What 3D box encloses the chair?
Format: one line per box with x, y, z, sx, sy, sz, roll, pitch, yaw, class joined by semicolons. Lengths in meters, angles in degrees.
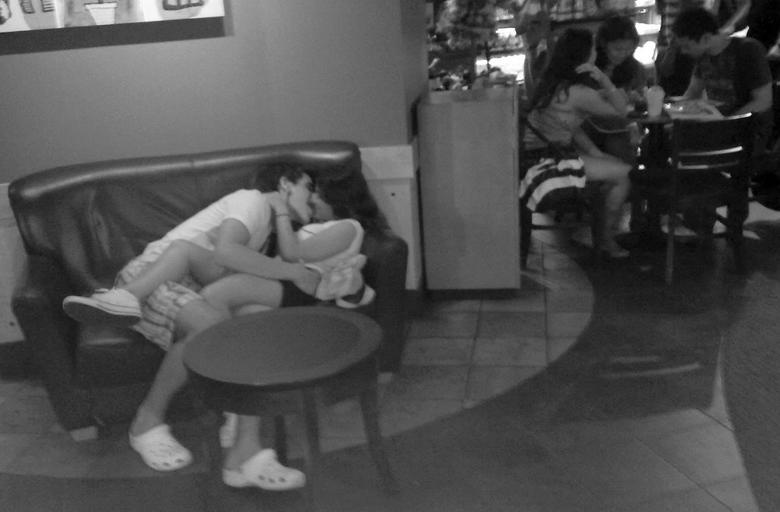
0.592;-0.157;1.396;0.275;0.366;0.243;-3;23;-2;chair

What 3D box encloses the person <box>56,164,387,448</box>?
-0.333;0.023;1.679;1.132;0.612;0.459;-12;16;-4;person

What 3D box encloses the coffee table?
-0.213;0.345;1.654;0.523;0.453;0.500;14;30;32;coffee table

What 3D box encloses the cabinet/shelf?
0.221;-0.191;1.723;0.276;0.566;0.544;-3;27;3;cabinet/shelf

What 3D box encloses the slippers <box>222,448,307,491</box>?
-0.328;0.560;1.629;0.194;0.089;0.096;0;-1;5;slippers

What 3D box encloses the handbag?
0.373;-0.171;1.432;0.047;0.100;0.129;17;-19;-40;handbag
